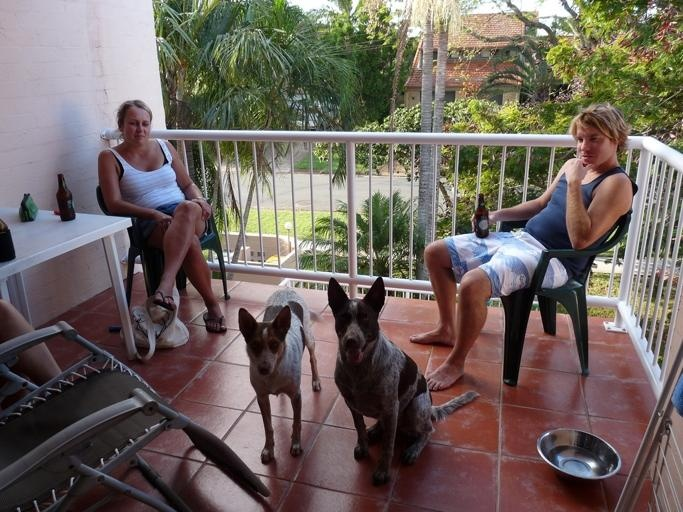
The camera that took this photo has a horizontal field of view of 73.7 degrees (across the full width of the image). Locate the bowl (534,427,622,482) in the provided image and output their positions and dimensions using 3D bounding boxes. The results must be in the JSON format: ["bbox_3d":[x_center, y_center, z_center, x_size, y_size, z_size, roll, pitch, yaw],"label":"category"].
[{"bbox_3d":[1.230,1.036,2.402,0.270,0.078,0.268,-4,26,2],"label":"bowl"}]

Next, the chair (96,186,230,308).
[{"bbox_3d":[-1.490,-0.097,3.841,0.770,1.131,0.767,9,18,37],"label":"chair"}]

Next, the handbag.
[{"bbox_3d":[-1.342,0.492,3.353,0.408,0.460,0.528,3,-24,-5],"label":"handbag"}]

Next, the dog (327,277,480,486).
[{"bbox_3d":[0.281,0.636,2.545,0.422,1.078,1.210,7,13,33],"label":"dog"}]

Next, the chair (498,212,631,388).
[{"bbox_3d":[1.424,0.173,3.171,0.829,1.124,0.886,5,20,27],"label":"chair"}]

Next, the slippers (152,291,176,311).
[{"bbox_3d":[-1.274,0.343,3.297,0.078,0.090,0.238,-2,-25,2],"label":"slippers"}]

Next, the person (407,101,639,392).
[{"bbox_3d":[1.173,-0.080,3.062,1.258,1.798,0.645,-1,17,-5],"label":"person"}]
